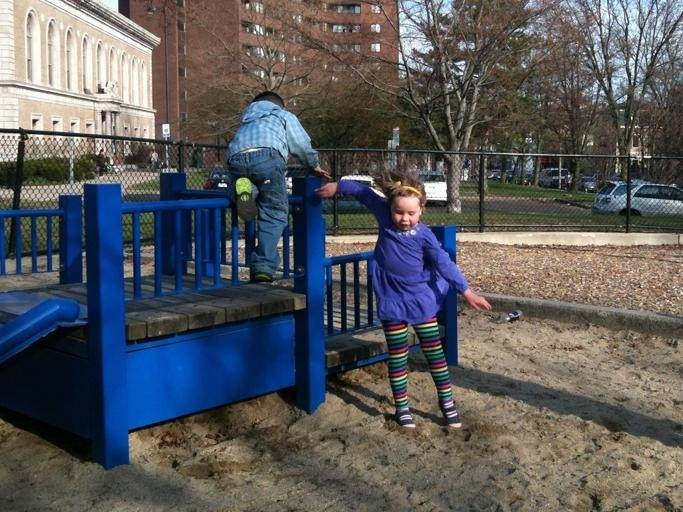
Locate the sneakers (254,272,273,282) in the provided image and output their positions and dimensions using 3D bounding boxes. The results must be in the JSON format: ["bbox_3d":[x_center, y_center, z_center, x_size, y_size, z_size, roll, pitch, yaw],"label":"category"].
[{"bbox_3d":[-0.590,0.159,4.948,0.175,0.087,0.058,5,12,23],"label":"sneakers"}]

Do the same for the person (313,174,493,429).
[{"bbox_3d":[0.500,0.308,4.615,1.046,1.809,0.465,3,11,16],"label":"person"}]

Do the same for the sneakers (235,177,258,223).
[{"bbox_3d":[-0.721,-0.427,4.920,0.163,0.365,0.151,-4,4,-1],"label":"sneakers"}]
